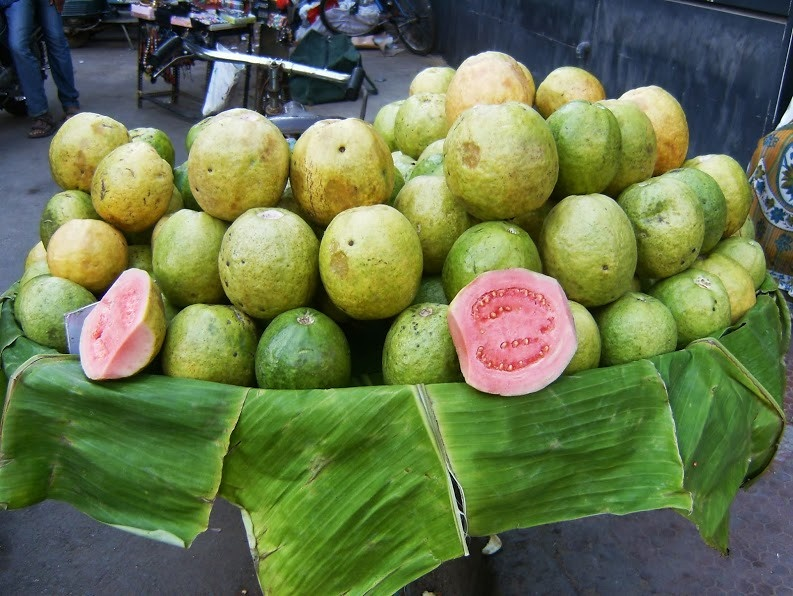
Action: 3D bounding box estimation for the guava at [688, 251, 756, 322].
[{"bbox_3d":[1.293,-0.021,2.751,0.222,0.318,0.237,-3,-5,-5],"label":"guava"}]
